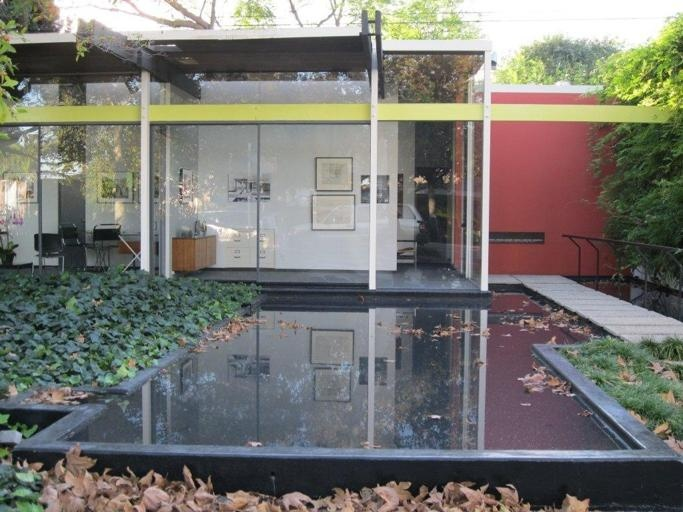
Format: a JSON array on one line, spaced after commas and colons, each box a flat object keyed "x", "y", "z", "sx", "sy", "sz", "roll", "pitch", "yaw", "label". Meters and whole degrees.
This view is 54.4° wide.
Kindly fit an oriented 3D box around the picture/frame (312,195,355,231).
[{"x": -0.111, "y": -0.736, "z": 10.873, "sx": 0.534, "sy": 0.478, "sz": 0.026, "roll": 1, "pitch": 1, "yaw": 10, "label": "picture/frame"}]

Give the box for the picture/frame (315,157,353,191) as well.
[{"x": -0.101, "y": -1.351, "z": 10.803, "sx": 0.511, "sy": 0.490, "sz": 0.043, "roll": 0, "pitch": -1, "yaw": 10, "label": "picture/frame"}]

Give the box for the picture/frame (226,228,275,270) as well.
[{"x": -1.535, "y": -0.130, "z": 11.059, "sx": 0.864, "sy": 0.615, "sz": 0.178, "roll": 0, "pitch": 8, "yaw": -2, "label": "picture/frame"}]
